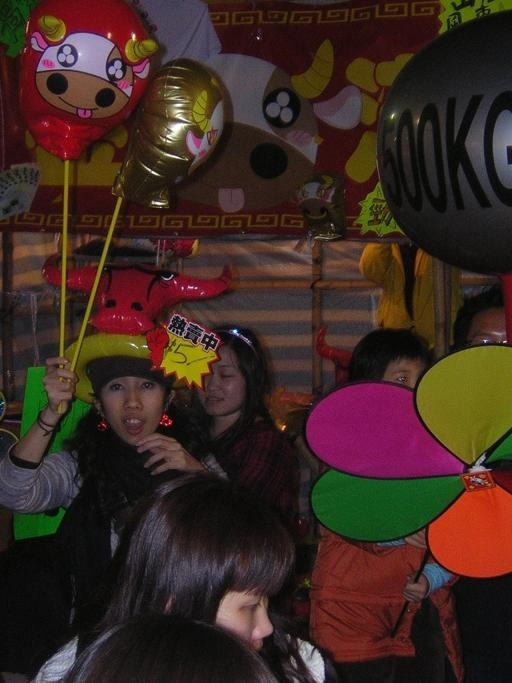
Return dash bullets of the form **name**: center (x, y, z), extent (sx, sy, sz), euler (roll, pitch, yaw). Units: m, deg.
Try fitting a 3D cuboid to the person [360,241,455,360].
- **person**: center (0.971, -0.387, 3.837), extent (0.485, 0.752, 0.201), euler (-2, -43, 3)
